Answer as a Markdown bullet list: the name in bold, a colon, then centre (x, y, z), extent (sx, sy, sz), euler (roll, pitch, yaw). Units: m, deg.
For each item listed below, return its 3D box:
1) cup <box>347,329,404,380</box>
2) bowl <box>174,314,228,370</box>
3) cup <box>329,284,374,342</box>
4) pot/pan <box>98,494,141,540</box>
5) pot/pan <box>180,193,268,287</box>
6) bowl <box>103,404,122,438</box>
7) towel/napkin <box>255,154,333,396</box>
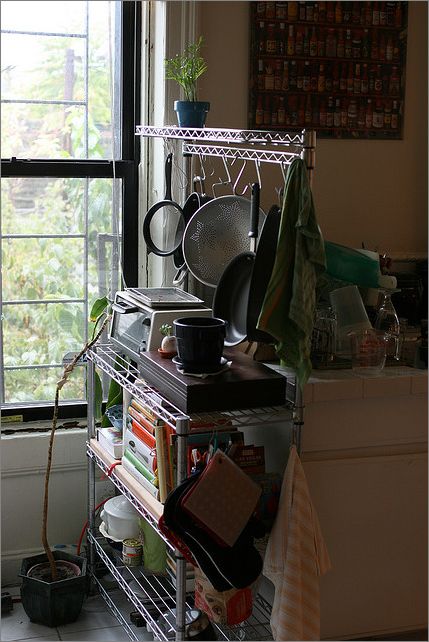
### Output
- **cup**: centre (0.429, 0.086, 1.433), extent (0.139, 0.110, 0.105), euler (-2, 7, 28)
- **bowl**: centre (-0.030, 0.038, 1.134), extent (0.111, 0.094, 0.114), euler (-1, 15, 0)
- **cup**: centre (0.387, -0.035, 1.509), extent (0.093, 0.139, 0.103), euler (-11, -12, 3)
- **pot/pan**: centre (-0.299, 0.631, 1.713), extent (0.129, 0.092, 0.100), euler (8, 1, -21)
- **pot/pan**: centre (0.053, -0.207, 1.657), extent (0.072, 0.340, 0.329), euler (-12, -37, 38)
- **bowl**: centre (-0.337, 0.337, 1.826), extent (0.075, 0.038, 0.084), euler (3, 19, -2)
- **towel/napkin**: centre (0.169, -0.096, 1.088), extent (0.126, 0.437, 0.079), euler (-4, 9, -26)
